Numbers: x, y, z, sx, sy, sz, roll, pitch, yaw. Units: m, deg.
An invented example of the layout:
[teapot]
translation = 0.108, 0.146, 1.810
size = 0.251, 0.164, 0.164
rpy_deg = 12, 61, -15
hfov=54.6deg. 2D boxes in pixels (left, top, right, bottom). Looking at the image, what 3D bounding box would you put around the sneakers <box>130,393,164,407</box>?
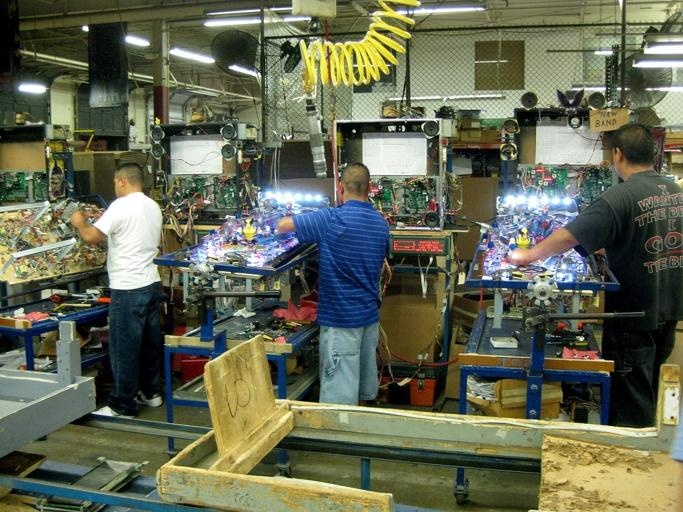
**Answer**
[sneakers]
translation = -1.768, 1.288, 5.980
size = 0.282, 0.113, 0.101
rpy_deg = 7, 8, 14
